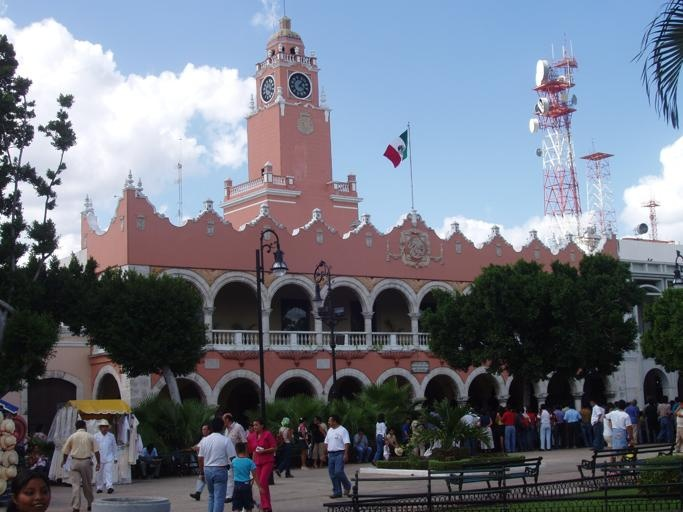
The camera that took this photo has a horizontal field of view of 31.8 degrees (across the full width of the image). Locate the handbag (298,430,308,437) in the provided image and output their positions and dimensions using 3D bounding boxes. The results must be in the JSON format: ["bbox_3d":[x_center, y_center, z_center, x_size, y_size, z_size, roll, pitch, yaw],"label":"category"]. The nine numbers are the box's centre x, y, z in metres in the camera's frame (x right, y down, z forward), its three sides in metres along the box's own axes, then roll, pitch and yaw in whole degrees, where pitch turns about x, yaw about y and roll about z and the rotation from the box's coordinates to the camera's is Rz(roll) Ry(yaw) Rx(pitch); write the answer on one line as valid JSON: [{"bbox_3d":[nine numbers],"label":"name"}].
[{"bbox_3d":[-1.302,5.972,40.704,0.344,0.355,0.193,-1,3,-4],"label":"handbag"}]

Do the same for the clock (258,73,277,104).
[{"bbox_3d":[-3.717,-8.413,60.743,0.129,1.408,1.491,5,-12,-31],"label":"clock"}]

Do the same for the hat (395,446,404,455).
[{"bbox_3d":[1.980,6.492,40.256,0.223,0.324,0.095,-3,-3,13],"label":"hat"}]

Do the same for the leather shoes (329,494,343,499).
[{"bbox_3d":[-0.145,6.464,32.604,0.335,0.153,0.120,6,-11,-10],"label":"leather shoes"}]

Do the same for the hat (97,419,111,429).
[{"bbox_3d":[-6.856,4.817,34.668,0.366,0.164,0.502,-1,-52,-3],"label":"hat"}]

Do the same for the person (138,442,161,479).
[{"bbox_3d":[-6.274,6.582,38.927,0.868,1.084,0.753,5,-12,-31],"label":"person"}]

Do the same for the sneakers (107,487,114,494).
[{"bbox_3d":[-6.750,6.777,35.031,0.106,0.119,0.273,-1,-40,-37],"label":"sneakers"}]

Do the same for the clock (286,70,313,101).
[{"bbox_3d":[-2.172,-8.538,60.370,0.251,1.703,1.643,-23,-12,34],"label":"clock"}]

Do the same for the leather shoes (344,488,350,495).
[{"bbox_3d":[0.184,6.275,32.149,0.140,0.178,0.393,-11,-17,-7],"label":"leather shoes"}]

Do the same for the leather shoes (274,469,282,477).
[{"bbox_3d":[-2.028,6.913,38.536,0.132,0.203,0.341,-21,7,-19],"label":"leather shoes"}]
